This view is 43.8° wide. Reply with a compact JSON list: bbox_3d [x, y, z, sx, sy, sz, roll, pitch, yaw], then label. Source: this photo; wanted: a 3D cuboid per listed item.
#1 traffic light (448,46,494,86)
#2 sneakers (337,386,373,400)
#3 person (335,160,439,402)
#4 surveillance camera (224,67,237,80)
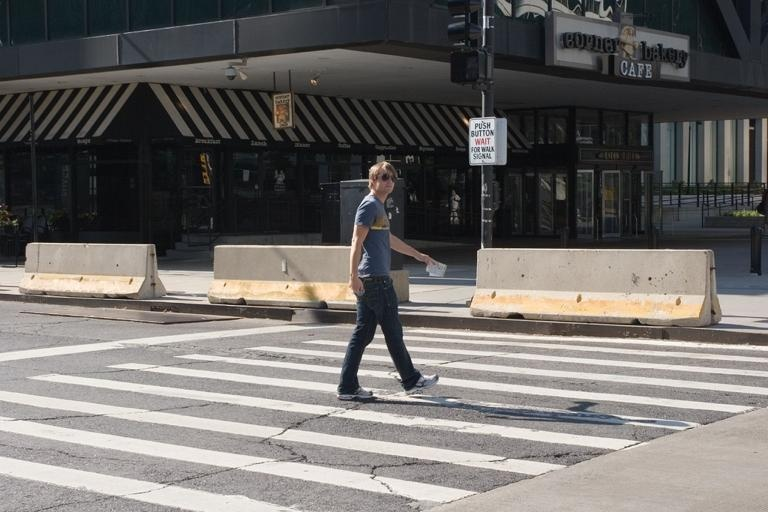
[{"bbox_3d":[1.607,-3.505,17.790,0.727,0.669,0.409,-17,15,-27],"label":"traffic light"},{"bbox_3d":[-0.365,1.721,12.176,0.459,0.217,0.172,-2,0,-9],"label":"sneakers"},{"bbox_3d":[-0.031,0.306,12.221,1.155,3.034,0.915,-1,1,-2],"label":"person"},{"bbox_3d":[-4.313,-5.097,26.884,0.316,0.312,0.317,0,6,-15],"label":"surveillance camera"}]
